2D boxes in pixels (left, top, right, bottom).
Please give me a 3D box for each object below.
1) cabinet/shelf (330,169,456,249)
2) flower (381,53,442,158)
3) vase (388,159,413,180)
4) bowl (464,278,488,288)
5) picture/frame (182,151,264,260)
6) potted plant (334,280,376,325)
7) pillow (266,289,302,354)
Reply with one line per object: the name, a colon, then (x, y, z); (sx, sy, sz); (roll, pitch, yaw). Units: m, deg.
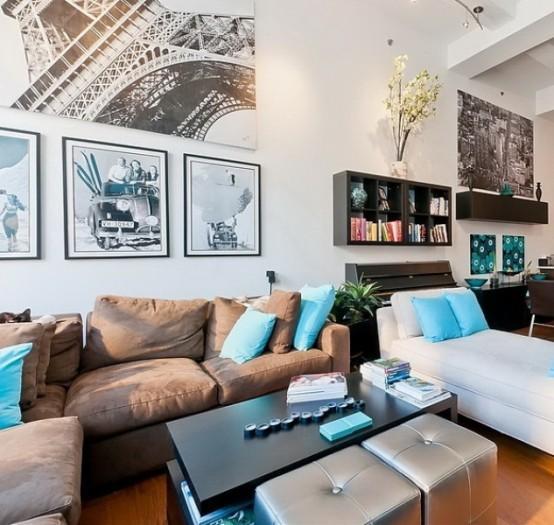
cabinet/shelf: (1.290, -0.562, 4.947); (1.551, 0.790, 0.312); (-4, 2, -32)
flower: (1.590, -1.765, 5.105); (0.836, 1.238, 0.500); (-4, 2, -45)
vase: (1.360, -1.008, 4.987); (0.197, 0.207, 0.192); (-1, 4, -44)
bowl: (2.328, 0.234, 5.348); (0.160, 0.075, 0.159); (0, -3, 0)
picture/frame: (-0.510, -0.509, 3.990); (0.863, 1.142, 0.045); (-2, 4, -31)
potted plant: (0.692, 0.367, 4.005); (0.374, 0.416, 0.342); (4, -5, -43)
pillow: (0.050, 0.441, 3.264); (0.127, 0.260, 0.362); (26, -12, -12)
